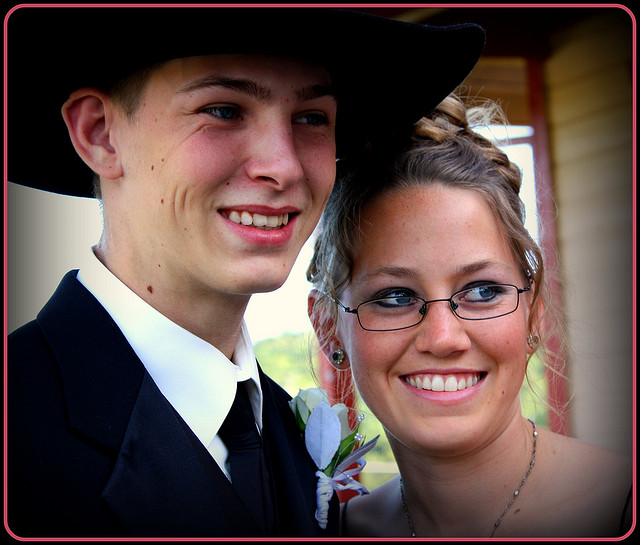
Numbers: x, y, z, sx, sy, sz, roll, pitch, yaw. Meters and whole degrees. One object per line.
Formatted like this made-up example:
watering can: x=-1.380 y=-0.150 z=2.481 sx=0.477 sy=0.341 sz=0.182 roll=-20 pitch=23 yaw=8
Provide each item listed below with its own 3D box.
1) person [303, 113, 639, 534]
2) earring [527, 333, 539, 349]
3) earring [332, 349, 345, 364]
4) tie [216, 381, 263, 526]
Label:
person: x=0.719 y=0.305 z=4.225 sx=1.462 sy=1.973 sz=0.769 roll=-2 pitch=-1 yaw=-8
earring: x=1.134 y=0.381 z=4.261 sx=0.068 sy=0.075 sz=0.022 roll=-1 pitch=-10 yaw=0
earring: x=0.096 y=0.470 z=4.332 sx=0.058 sy=0.071 sz=0.023 roll=3 pitch=4 yaw=28
tie: x=-0.354 y=0.773 z=3.548 sx=0.145 sy=0.661 sz=0.153 roll=-7 pitch=-13 yaw=0
